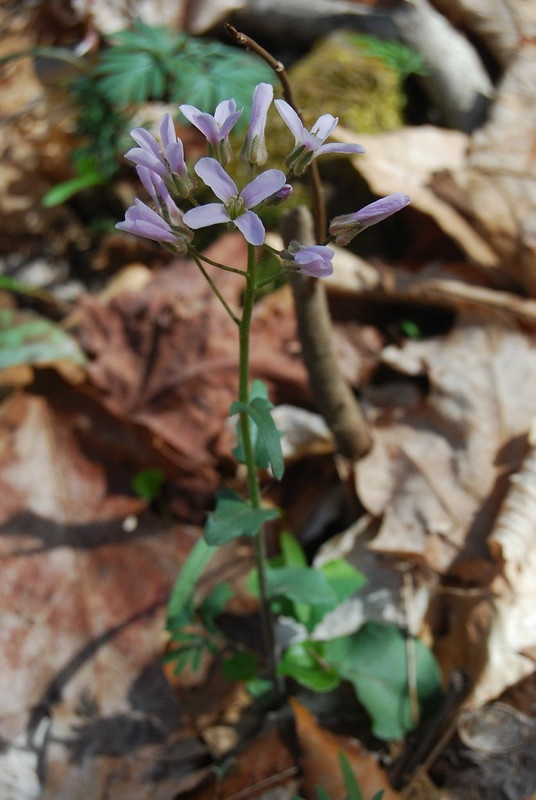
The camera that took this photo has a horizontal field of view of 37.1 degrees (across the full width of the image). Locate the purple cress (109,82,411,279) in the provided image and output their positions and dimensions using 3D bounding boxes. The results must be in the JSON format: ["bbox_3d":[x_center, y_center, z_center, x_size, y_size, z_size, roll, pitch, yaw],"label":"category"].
[{"bbox_3d":[-0.018,-0.284,1.083,0.364,0.108,0.298,7,85,-8],"label":"purple cress"}]
